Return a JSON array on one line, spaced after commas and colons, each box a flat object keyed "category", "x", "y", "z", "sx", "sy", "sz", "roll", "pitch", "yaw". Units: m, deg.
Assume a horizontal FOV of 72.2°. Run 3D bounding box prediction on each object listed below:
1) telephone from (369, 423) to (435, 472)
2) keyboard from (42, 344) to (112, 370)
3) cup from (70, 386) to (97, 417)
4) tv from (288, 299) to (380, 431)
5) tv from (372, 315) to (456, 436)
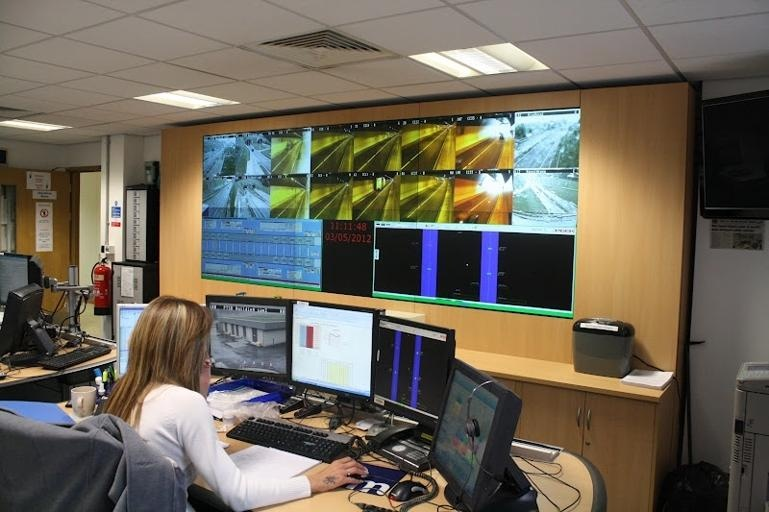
[{"category": "telephone", "x": 0.120, "y": 0.993, "z": 2.758, "sx": 0.215, "sy": 0.076, "sz": 0.212, "roll": 0, "pitch": 9, "yaw": -43}, {"category": "keyboard", "x": -2.324, "y": 0.733, "z": 3.953, "sx": 0.147, "sy": 0.037, "sz": 0.291, "roll": 7, "pitch": 12, "yaw": 26}, {"category": "cup", "x": -1.746, "y": 0.843, "z": 3.083, "sx": 0.132, "sy": 0.131, "sz": 0.170, "roll": 3, "pitch": 7, "yaw": -11}, {"category": "tv", "x": -0.293, "y": 0.630, "z": 3.037, "sx": 0.686, "sy": 0.691, "sz": 0.268, "roll": 3, "pitch": 2, "yaw": 28}, {"category": "tv", "x": 0.153, "y": 0.641, "z": 2.814, "sx": 0.576, "sy": 0.583, "sz": 0.079, "roll": 9, "pitch": 4, "yaw": 39}]
